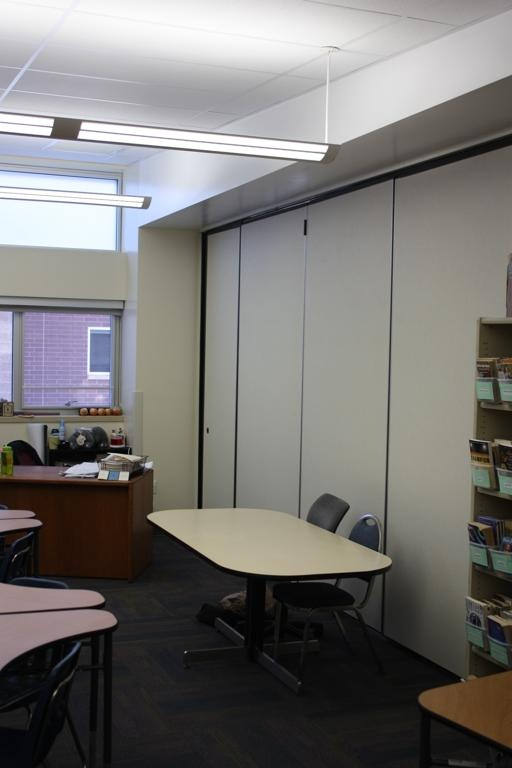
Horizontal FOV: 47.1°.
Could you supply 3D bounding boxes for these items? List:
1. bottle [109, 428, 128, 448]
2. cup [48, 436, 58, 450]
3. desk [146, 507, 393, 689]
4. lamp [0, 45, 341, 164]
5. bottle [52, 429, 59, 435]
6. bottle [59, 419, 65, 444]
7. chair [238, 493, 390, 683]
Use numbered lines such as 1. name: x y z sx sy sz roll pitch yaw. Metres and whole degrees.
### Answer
1. bottle: -1.668 0.662 7.195 0.172 0.261 0.212 1 6 8
2. cup: -2.413 0.688 6.993 0.123 0.194 0.129 1 -2 0
3. desk: 0.012 1.284 3.563 1.039 0.763 1.685 5 -4 -24
4. lamp: -0.391 -1.180 2.873 1.601 0.199 0.364 5 -4 -22
5. bottle: -2.412 0.563 7.051 0.067 0.070 0.115 5 -4 -30
6. bottle: -2.335 0.549 7.061 0.059 0.276 0.156 4 -4 -18
7. chair: 0.363 1.228 3.985 0.835 1.504 0.766 3 -3 -25
